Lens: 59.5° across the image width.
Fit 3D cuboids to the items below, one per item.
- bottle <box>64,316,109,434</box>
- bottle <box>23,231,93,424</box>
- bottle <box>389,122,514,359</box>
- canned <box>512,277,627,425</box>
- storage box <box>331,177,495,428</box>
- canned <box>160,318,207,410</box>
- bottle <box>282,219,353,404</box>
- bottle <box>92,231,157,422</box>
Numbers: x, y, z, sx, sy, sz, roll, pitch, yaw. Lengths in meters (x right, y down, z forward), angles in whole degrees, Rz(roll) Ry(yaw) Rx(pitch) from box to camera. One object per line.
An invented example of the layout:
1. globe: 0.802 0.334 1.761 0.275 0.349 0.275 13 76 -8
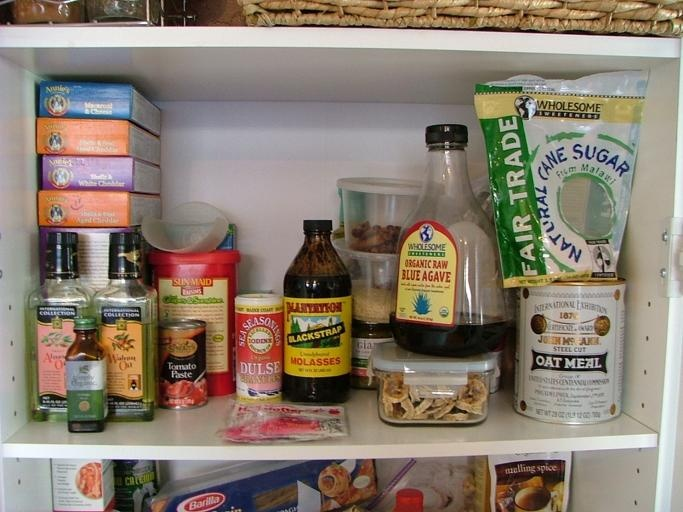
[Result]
1. bottle: -0.429 0.201 1.022 0.057 0.195 0.067 -3 6 14
2. bottle: -0.499 0.127 1.046 0.120 0.314 0.110 10 17 -3
3. bottle: 0.205 -0.010 1.150 0.253 0.460 0.151 0 0 -5
4. canned: 0.410 0.167 1.094 0.174 0.252 0.133 3 6 8
5. storage box: 0.124 0.091 1.139 0.309 0.558 0.180 0 -1 16
6. canned: -0.301 0.202 1.131 0.079 0.162 0.065 3 13 -19
7. bottle: -0.028 0.099 1.132 0.120 0.345 0.131 1 13 0
8. bottle: -0.365 0.120 1.059 0.138 0.333 0.095 0 -2 -7
